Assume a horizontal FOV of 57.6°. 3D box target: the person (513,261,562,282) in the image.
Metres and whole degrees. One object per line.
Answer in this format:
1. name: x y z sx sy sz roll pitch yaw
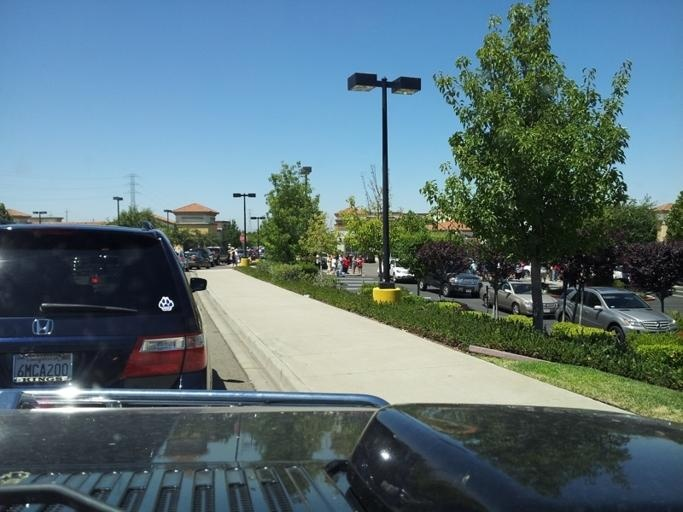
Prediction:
1. person: 7.721 0.664 24.218 1.023 0.276 0.969 -5 10 -27

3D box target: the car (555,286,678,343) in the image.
1. car: 6.823 1.444 15.528 1.190 1.080 2.674 1 -5 -15

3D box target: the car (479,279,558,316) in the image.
1. car: 6.185 1.466 21.872 2.045 1.139 5.062 -1 2 9

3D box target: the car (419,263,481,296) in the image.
1. car: 5.022 1.187 28.910 1.406 1.249 2.630 1 -5 -22

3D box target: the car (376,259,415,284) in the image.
1. car: 3.625 0.913 36.091 1.168 1.170 2.636 0 -1 -23

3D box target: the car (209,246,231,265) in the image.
1. car: -12.749 -0.046 62.977 1.635 1.339 3.594 -1 -3 -5
